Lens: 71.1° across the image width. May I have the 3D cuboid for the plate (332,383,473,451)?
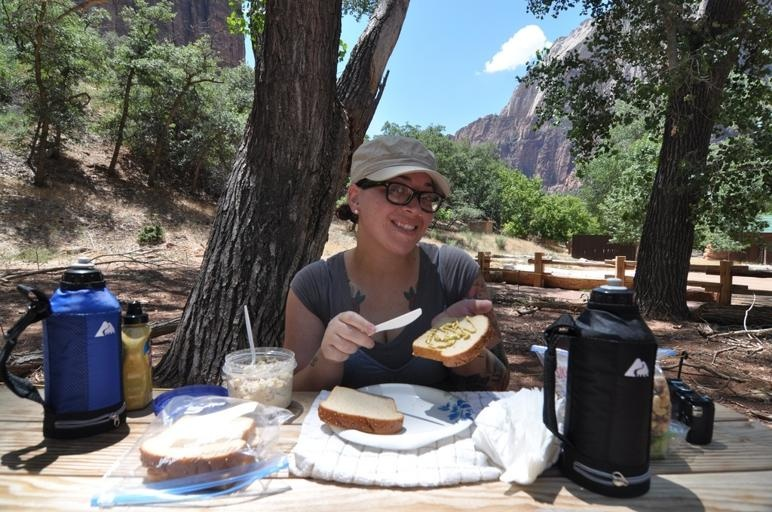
[{"bbox_3d":[0.107,1.296,4.700,1.077,0.394,0.769,-2,-1,-20],"label":"plate"}]

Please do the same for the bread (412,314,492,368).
[{"bbox_3d":[0.566,0.706,4.628,0.501,0.147,0.512,-13,24,33],"label":"bread"}]

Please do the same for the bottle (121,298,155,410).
[{"bbox_3d":[-2.010,0.812,4.535,0.240,0.953,0.240,1,7,0],"label":"bottle"}]

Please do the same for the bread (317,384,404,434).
[{"bbox_3d":[-0.219,1.262,4.425,0.563,0.328,0.517,-3,-6,-24],"label":"bread"}]
